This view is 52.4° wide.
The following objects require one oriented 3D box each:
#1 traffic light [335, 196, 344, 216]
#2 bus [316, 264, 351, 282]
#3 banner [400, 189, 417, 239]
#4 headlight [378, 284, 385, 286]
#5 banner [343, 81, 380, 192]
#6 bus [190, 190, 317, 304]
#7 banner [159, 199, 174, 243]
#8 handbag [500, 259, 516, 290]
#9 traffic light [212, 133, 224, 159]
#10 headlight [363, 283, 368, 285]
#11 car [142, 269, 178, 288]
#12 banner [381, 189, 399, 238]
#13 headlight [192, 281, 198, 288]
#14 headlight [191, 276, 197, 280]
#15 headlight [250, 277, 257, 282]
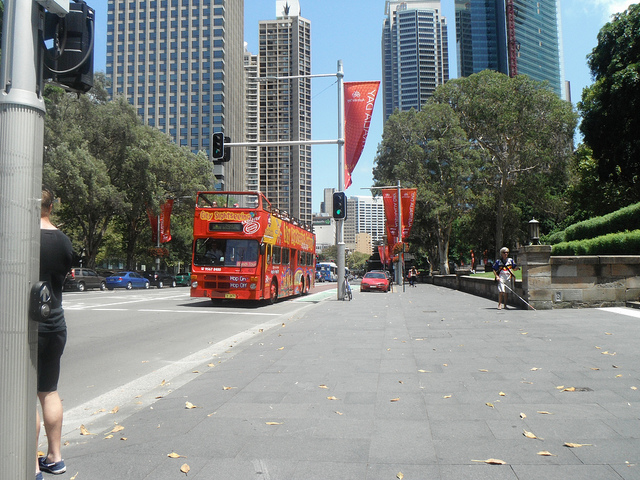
[{"bbox_3d":[0.688,-1.248,23.836,0.338,0.731,0.258,0,-1,18],"label":"traffic light"},{"bbox_3d":[1.546,4.782,91.549,2.165,2.445,7.749,-2,-9,11],"label":"bus"},{"bbox_3d":[5.253,-1.621,39.011,0.743,2.820,1.371,0,-1,8],"label":"banner"},{"bbox_3d":[3.217,2.370,33.982,0.293,0.070,0.094,0,-1,3],"label":"headlight"},{"bbox_3d":[1.341,-3.946,23.366,0.944,3.465,1.667,0,-1,-11],"label":"banner"},{"bbox_3d":[-2.509,0.121,25.491,4.072,4.818,9.666,0,-1,-3],"label":"bus"},{"bbox_3d":[-11.537,-1.409,48.798,0.919,3.178,5.163,0,-1,-14],"label":"banner"},{"bbox_3d":[4.999,0.934,17.388,0.055,0.221,1.233,4,-43,54],"label":"handbag"},{"bbox_3d":[-3.255,-3.042,20.934,0.375,0.840,0.437,0,-1,-14],"label":"traffic light"},{"bbox_3d":[2.391,2.318,34.209,0.228,0.069,0.100,0,-1,-9],"label":"headlight"},{"bbox_3d":[-12.985,3.161,53.074,1.224,1.188,3.067,0,0,15],"label":"car"},{"bbox_3d":[4.210,-1.574,38.293,1.009,2.893,0.773,-1,-1,21],"label":"banner"},{"bbox_3d":[-4.162,1.491,21.697,0.200,0.210,0.079,-1,-1,31],"label":"headlight"},{"bbox_3d":[-4.202,1.266,21.736,0.113,0.093,0.121,-1,-2,13],"label":"headlight"},{"bbox_3d":[-2.171,1.286,21.338,0.161,0.122,0.092,1,-8,-6],"label":"headlight"}]
